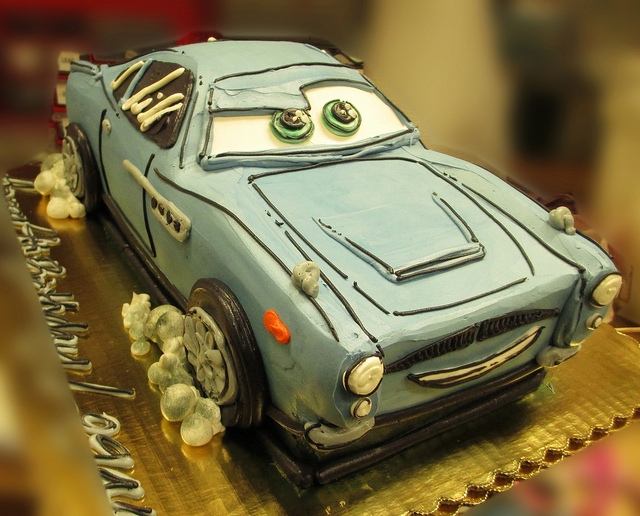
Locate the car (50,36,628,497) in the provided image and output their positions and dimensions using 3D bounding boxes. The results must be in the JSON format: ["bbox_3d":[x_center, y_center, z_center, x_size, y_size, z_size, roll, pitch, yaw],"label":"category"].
[{"bbox_3d":[-0.173,-0.380,2.942,1.774,0.996,2.700,-15,42,-35],"label":"car"}]

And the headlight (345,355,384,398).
[{"bbox_3d":[0.127,0.360,1.687,0.120,0.136,0.068,-22,51,-24],"label":"headlight"}]

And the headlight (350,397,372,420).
[{"bbox_3d":[0.125,0.461,1.741,0.076,0.106,0.028,-9,47,-13],"label":"headlight"}]
